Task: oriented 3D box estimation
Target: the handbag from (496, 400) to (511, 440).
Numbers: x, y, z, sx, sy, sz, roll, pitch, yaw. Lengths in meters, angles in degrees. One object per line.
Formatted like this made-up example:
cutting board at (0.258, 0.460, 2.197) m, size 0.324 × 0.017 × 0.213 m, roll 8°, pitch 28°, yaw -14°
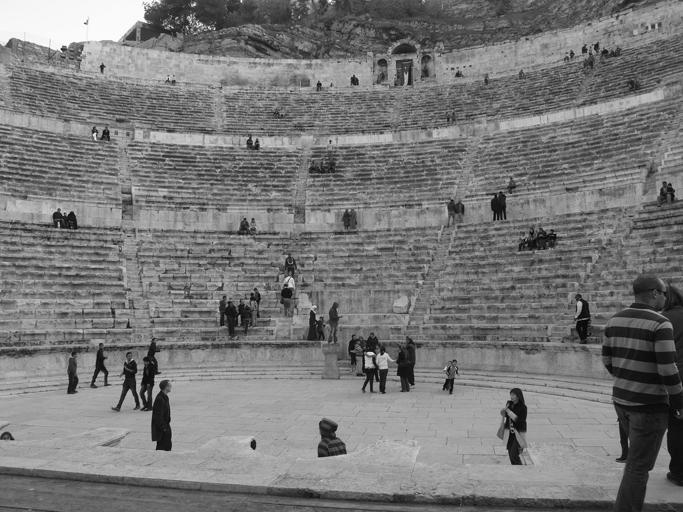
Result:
handbag at (4.112, 4.225, 23.056) m, size 0.282 × 0.910 × 0.916 m, roll 1°, pitch 0°, yaw 11°
